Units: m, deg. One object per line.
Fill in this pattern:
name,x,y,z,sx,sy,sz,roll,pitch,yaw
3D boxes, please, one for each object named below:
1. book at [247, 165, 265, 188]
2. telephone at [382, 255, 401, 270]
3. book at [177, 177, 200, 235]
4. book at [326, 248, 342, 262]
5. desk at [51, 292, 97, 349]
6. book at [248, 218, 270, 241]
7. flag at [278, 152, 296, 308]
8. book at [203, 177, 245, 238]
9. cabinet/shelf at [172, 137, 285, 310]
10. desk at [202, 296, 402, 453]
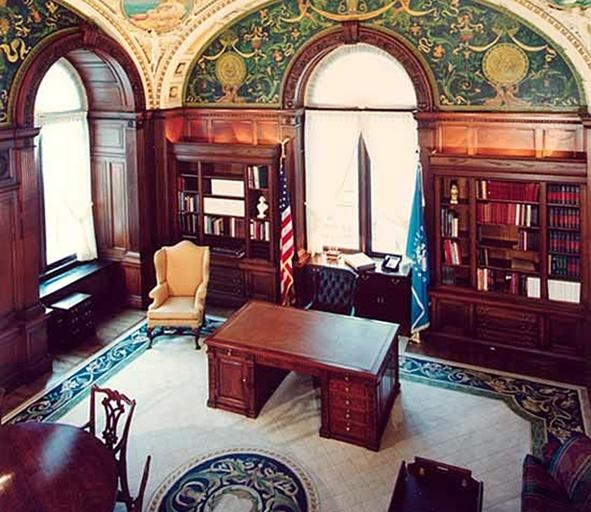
book,-0.589,-1.189,7.561,0.297,0.337,0.088,0,9,-1
telephone,1.412,0.095,7.253,0.209,0.233,0.225,9,36,21
book,-1.759,-0.816,8.074,0.432,0.748,0.702,2,15,4
book,0.601,-0.006,7.806,0.161,0.243,0.185,3,10,17
desk,-3.125,0.924,6.924,0.295,0.499,0.565,5,21,13
book,-0.566,-0.394,7.769,0.260,0.411,0.389,3,10,10
flag,-0.119,-0.360,7.593,0.272,2.266,0.282,-3,9,-19
book,-1.138,-0.796,7.853,0.674,0.783,0.352,6,20,14
cabinet/shelf,-1.004,-0.552,7.672,2.124,3.281,0.670,3,11,15
desk,0.172,1.777,5.677,1.810,0.870,1.182,9,27,22
